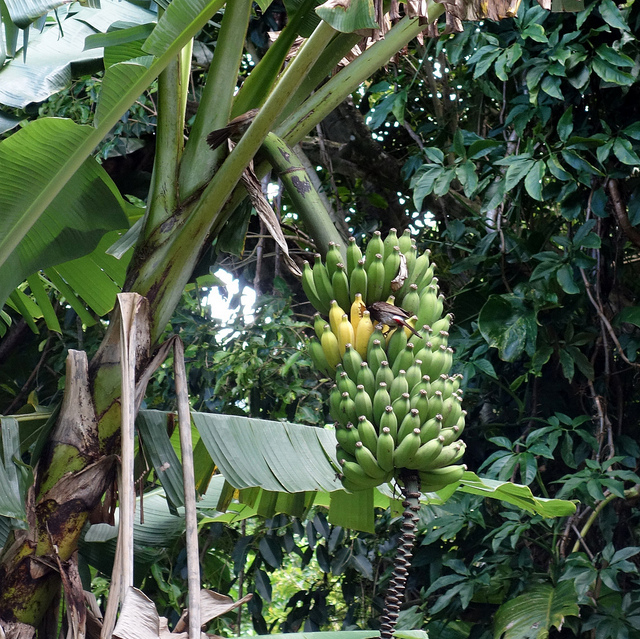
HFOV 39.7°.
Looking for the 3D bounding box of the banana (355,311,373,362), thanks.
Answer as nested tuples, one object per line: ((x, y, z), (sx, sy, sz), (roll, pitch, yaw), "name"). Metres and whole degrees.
((0.134, 0.039, 2.778), (0.047, 0.044, 0.160), (1, -55, -6), "banana")

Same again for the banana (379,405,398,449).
((0.198, 0.320, 2.610), (0.047, 0.151, 0.041), (7, -38, 0), "banana")

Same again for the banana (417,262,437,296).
((0.342, -0.138, 2.907), (0.038, 0.127, 0.048), (29, -16, 15), "banana")

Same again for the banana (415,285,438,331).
((0.347, -0.040, 2.849), (0.054, 0.159, 0.057), (29, -32, -24), "banana")

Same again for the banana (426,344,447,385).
((0.357, 0.134, 2.743), (0.039, 0.137, 0.050), (16, -13, 1), "banana")

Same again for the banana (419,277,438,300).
((0.359, -0.109, 2.900), (0.033, 0.118, 0.042), (-4, -62, 29), "banana")

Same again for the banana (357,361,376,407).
((0.139, 0.202, 2.717), (0.054, 0.050, 0.159), (-5, -63, 14), "banana")

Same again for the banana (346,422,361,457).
((0.098, 0.356, 2.648), (0.036, 0.097, 0.032), (-4, -3, -4), "banana")

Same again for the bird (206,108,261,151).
((-0.294, -0.634, 2.965), (0.209, 0.086, 0.069), (-32, -62, 7), "bird")

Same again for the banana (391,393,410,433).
((0.239, 0.281, 2.673), (0.039, 0.115, 0.041), (8, -13, -22), "banana")

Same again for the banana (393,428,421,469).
((0.249, 0.389, 2.623), (0.069, 0.052, 0.193), (17, -45, 11), "banana")

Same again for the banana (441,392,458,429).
((0.394, 0.279, 2.736), (0.041, 0.123, 0.045), (18, -12, -39), "banana")

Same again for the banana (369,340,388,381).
((0.177, 0.125, 2.740), (0.041, 0.121, 0.047), (-6, -13, 34), "banana")

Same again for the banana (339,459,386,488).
((0.124, 0.458, 2.666), (0.143, 0.057, 0.034), (22, -53, -18), "banana")

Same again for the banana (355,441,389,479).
((0.148, 0.410, 2.625), (0.099, 0.033, 0.066), (55, -1, -21), "banana")

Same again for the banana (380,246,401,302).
((0.211, -0.146, 2.801), (0.059, 0.206, 0.054), (18, -32, -23), "banana")

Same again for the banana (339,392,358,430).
((0.084, 0.279, 2.699), (0.049, 0.127, 0.039), (-15, 15, -32), "banana")

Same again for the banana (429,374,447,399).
((0.358, 0.198, 2.715), (0.029, 0.107, 0.038), (18, -57, 10), "banana")

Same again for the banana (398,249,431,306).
((0.293, -0.130, 2.835), (0.046, 0.175, 0.063), (26, -17, 1), "banana")

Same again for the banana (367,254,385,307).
((0.170, -0.124, 2.781), (0.054, 0.149, 0.084), (6, -15, 10), "banana")

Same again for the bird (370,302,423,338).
((0.214, -0.010, 2.786), (0.202, 0.084, 0.055), (18, -13, 11), "bird")

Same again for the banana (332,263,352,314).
((0.071, -0.096, 2.813), (0.045, 0.161, 0.059), (-10, 8, 11), "banana")

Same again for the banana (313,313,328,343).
((-0.003, 0.025, 2.839), (0.031, 0.093, 0.029), (-7, -3, 15), "banana")

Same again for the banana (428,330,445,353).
((0.356, 0.070, 2.762), (0.023, 0.072, 0.026), (41, -37, 1), "banana")

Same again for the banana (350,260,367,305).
((0.119, -0.123, 2.775), (0.057, 0.121, 0.092), (8, -15, 2), "banana")

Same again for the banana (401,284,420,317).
((0.276, -0.058, 2.787), (0.051, 0.136, 0.046), (5, 27, 1), "banana")

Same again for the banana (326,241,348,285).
((0.047, -0.170, 2.803), (0.053, 0.047, 0.159), (-4, -64, 12), "banana")

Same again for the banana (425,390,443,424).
((0.341, 0.263, 2.707), (0.035, 0.103, 0.037), (20, -11, -38), "banana")

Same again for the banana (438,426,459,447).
((0.385, 0.347, 2.677), (0.028, 0.098, 0.037), (51, -50, -3), "banana")

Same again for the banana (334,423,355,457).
((0.064, 0.356, 2.679), (0.042, 0.113, 0.032), (-17, -19, -39), "banana")

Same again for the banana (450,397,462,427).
((0.426, 0.286, 2.778), (0.028, 0.096, 0.034), (16, -3, -15), "banana")

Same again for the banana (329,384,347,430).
((0.053, 0.270, 2.744), (0.050, 0.136, 0.039), (-11, -5, 4), "banana")

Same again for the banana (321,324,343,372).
((0.026, 0.088, 2.798), (0.050, 0.148, 0.046), (-14, 2, -5), "banana")

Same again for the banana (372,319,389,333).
((0.189, 0.021, 2.782), (0.043, 0.032, 0.041), (29, 6, 11), "banana")

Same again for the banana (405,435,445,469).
((0.302, 0.385, 2.611), (0.029, 0.107, 0.038), (45, 4, -14), "banana")

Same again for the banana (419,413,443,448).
((0.323, 0.324, 2.631), (0.037, 0.114, 0.040), (43, -14, -10), "banana")
